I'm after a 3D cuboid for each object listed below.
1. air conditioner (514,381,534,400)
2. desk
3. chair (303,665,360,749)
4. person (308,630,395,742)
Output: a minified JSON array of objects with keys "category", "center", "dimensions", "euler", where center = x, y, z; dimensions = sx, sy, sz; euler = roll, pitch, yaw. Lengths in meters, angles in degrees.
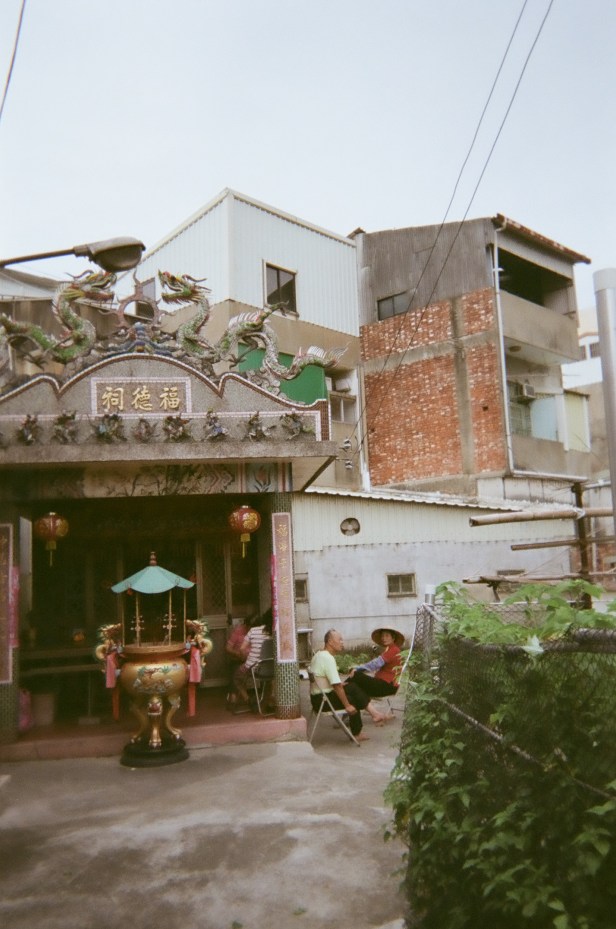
[{"category":"air conditioner","center":[4.905,-1.683,18.993],"dimensions":[0.616,0.349,0.215],"euler":[2,-8,-33]},{"category":"desk","center":[-2.811,2.464,9.502],"dimensions":[0.891,0.804,1.127],"euler":[0,-6,-14]},{"category":"chair","center":[0.229,2.710,9.130],"dimensions":[0.671,0.909,0.540],"euler":[-3,-8,-5]},{"category":"person","center":[0.547,2.436,9.249],"dimensions":[1.136,1.162,0.608],"euler":[3,-14,-16]}]
